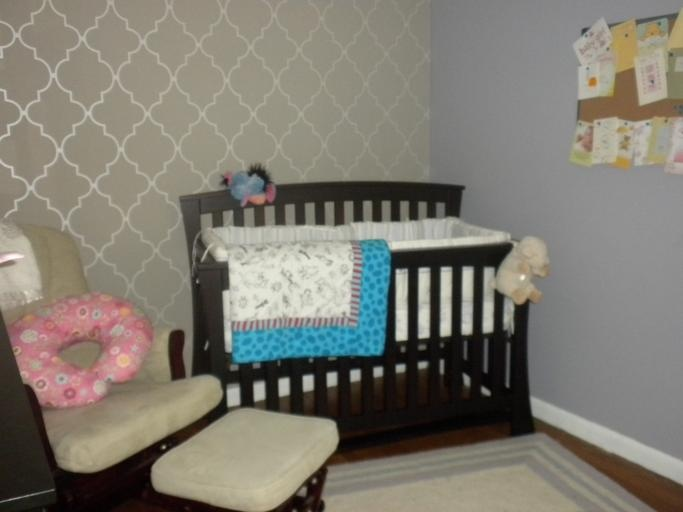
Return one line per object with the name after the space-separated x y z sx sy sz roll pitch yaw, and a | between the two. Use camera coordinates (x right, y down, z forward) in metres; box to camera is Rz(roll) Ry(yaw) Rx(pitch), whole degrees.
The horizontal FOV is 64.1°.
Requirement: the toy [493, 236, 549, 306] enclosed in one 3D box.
0.820 0.076 2.490 0.227 0.318 0.139 -7 15 -23 | toy
